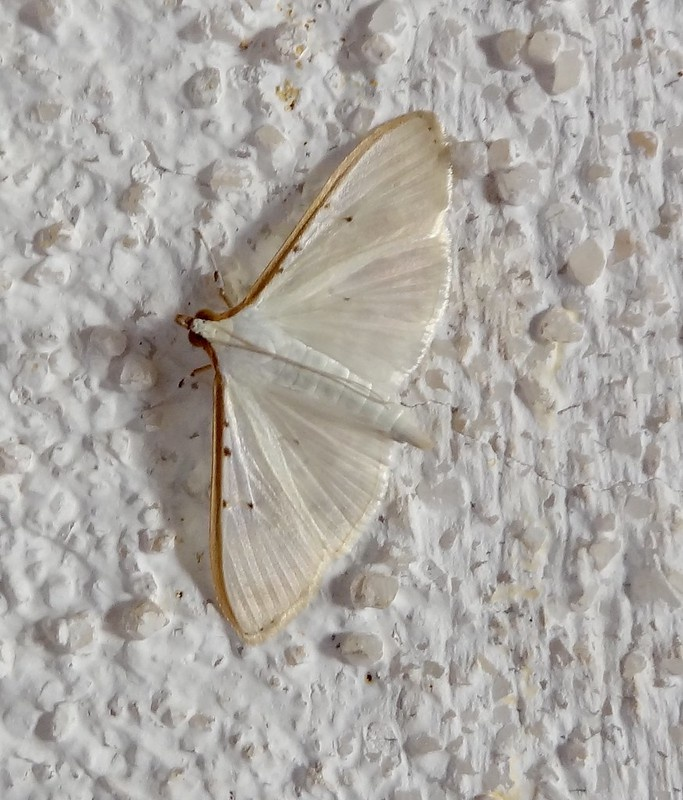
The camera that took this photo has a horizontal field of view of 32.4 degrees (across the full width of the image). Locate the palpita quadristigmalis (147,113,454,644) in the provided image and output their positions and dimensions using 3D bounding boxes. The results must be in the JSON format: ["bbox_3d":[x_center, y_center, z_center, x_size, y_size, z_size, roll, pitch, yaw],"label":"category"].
[{"bbox_3d":[-0.034,-0.021,1.288,0.325,0.113,0.603,28,110,19],"label":"palpita quadristigmalis"}]
